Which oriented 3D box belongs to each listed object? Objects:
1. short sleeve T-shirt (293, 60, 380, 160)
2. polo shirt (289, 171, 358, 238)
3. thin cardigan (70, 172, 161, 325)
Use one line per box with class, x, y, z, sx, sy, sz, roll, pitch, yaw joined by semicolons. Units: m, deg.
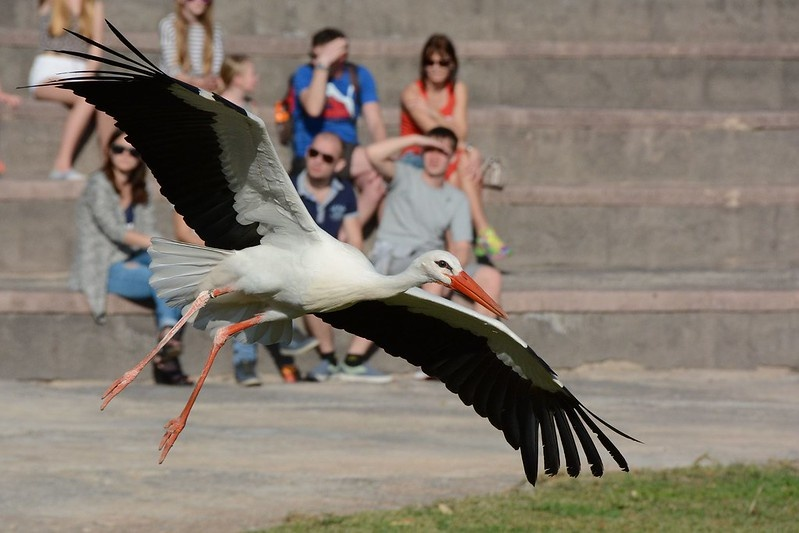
short sleeve T-shirt;-0.663;-1.509;18.420;1.038;0.834;0.511;-2;23;-12
polo shirt;-0.699;-0.541;17.482;0.710;0.559;0.341;-3;9;-15
thin cardigan;-2.577;-0.287;18.303;0.589;0.487;1.065;-10;-33;0
